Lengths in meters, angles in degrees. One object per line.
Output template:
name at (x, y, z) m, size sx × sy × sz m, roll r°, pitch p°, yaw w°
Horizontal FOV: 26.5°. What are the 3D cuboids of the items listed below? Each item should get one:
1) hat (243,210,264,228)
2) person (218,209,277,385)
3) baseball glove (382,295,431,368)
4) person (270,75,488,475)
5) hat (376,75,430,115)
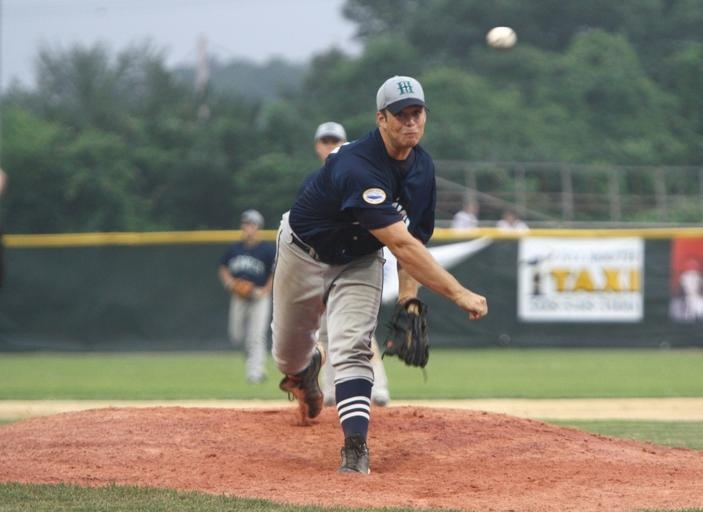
hat at (-1.295, -0.537, 19.744) m, size 0.316 × 0.216 × 0.366 m, roll 2°, pitch 1°, yaw 1°
person at (-1.305, 0.458, 19.432) m, size 0.686 × 2.032 × 1.483 m, roll -2°, pitch 8°, yaw -14°
baseball glove at (0.562, 0.753, 15.351) m, size 0.459 × 0.704 × 0.224 m, roll 0°, pitch 8°, yaw 0°
person at (-0.049, 0.136, 17.734) m, size 1.036 × 3.709 × 1.078 m, roll -6°, pitch 11°, yaw 24°
hat at (0.451, -1.667, 15.373) m, size 0.338 × 0.275 × 0.479 m, roll -2°, pitch 3°, yaw -16°
